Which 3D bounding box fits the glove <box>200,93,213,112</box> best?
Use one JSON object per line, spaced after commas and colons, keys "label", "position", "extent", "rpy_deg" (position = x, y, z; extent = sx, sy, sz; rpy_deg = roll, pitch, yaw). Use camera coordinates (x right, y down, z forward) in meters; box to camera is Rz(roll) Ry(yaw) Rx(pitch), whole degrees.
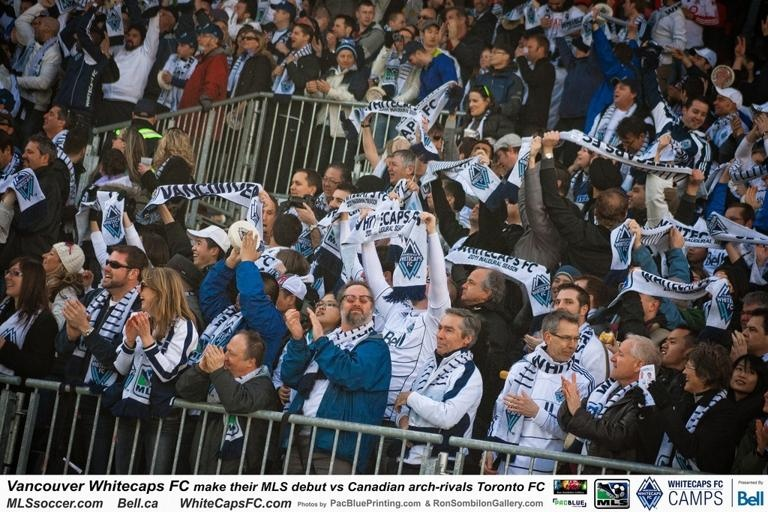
{"label": "glove", "position": [-2.628, -2.263, 14.728], "extent": [0.115, 0.219, 0.259], "rpy_deg": [-10, 44, -36]}

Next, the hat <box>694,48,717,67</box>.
{"label": "hat", "position": [4.721, -2.937, 14.599], "extent": [0.342, 0.174, 0.244], "rpy_deg": [34, 12, -24]}

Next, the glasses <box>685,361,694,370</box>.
{"label": "glasses", "position": [3.052, 1.095, 9.988], "extent": [0.074, 0.023, 0.073], "rpy_deg": [12, -7, 24]}

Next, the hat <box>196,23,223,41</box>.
{"label": "hat", "position": [-2.705, -3.446, 15.446], "extent": [0.341, 0.189, 0.244], "rpy_deg": [14, 13, -20]}

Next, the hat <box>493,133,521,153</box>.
{"label": "hat", "position": [1.568, -1.438, 12.656], "extent": [0.288, 0.156, 0.207], "rpy_deg": [3, 9, 11]}

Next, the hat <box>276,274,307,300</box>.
{"label": "hat", "position": [-1.032, 0.331, 11.265], "extent": [0.315, 0.164, 0.215], "rpy_deg": [26, 25, -4]}

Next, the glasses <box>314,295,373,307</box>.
{"label": "glasses", "position": [-0.385, 0.470, 10.495], "extent": [0.510, 0.126, 0.223], "rpy_deg": [10, 4, 33]}

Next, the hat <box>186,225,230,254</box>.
{"label": "hat", "position": [-2.097, -0.205, 11.907], "extent": [0.448, 0.234, 0.295], "rpy_deg": [33, 1, -15]}

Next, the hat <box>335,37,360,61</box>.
{"label": "hat", "position": [-0.536, -3.134, 15.050], "extent": [0.272, 0.195, 0.341], "rpy_deg": [1, 8, 6]}
